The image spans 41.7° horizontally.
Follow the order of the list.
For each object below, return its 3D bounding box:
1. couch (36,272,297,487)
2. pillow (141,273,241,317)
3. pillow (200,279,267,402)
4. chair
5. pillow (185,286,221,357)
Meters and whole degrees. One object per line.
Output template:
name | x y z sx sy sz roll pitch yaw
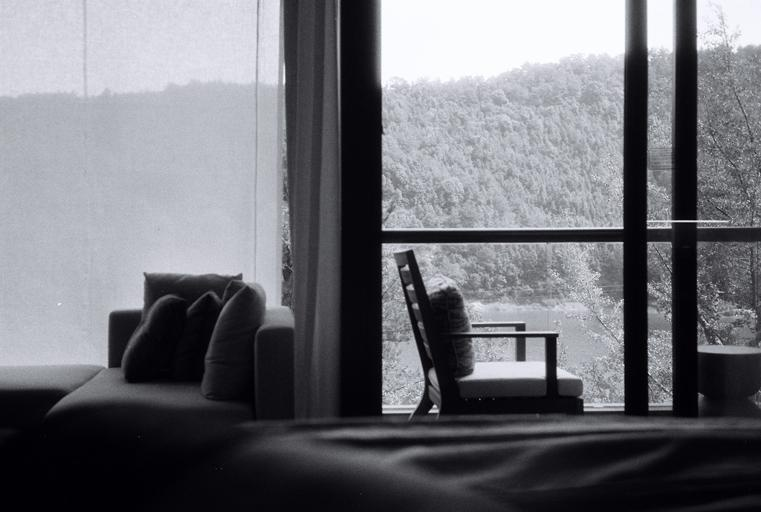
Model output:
couch | -0.800 0.527 4.051 0.913 0.879 1.248 0 2 1
pillow | -0.836 0.166 4.210 0.350 0.197 0.105 2 17 9
pillow | -0.606 0.456 4.042 0.272 0.473 0.646 -5 -19 -13
chair | 0.436 0.436 4.125 0.729 0.818 0.578 0 2 -3
pillow | -0.697 0.272 3.908 0.108 0.195 0.187 16 22 12
